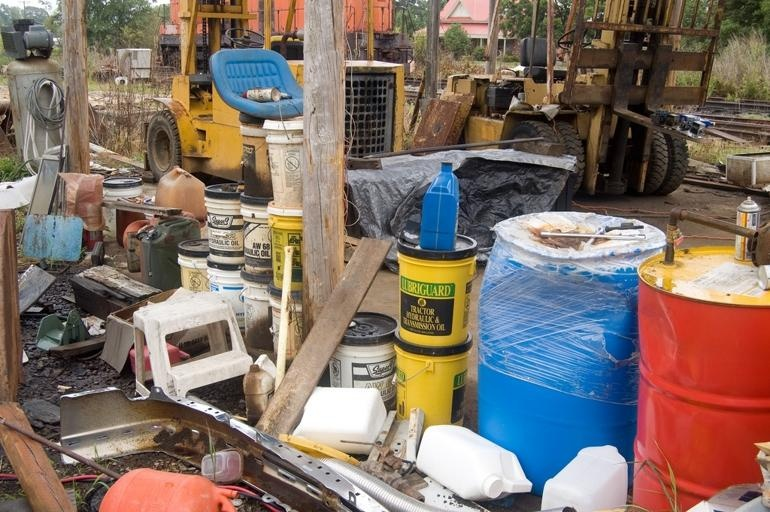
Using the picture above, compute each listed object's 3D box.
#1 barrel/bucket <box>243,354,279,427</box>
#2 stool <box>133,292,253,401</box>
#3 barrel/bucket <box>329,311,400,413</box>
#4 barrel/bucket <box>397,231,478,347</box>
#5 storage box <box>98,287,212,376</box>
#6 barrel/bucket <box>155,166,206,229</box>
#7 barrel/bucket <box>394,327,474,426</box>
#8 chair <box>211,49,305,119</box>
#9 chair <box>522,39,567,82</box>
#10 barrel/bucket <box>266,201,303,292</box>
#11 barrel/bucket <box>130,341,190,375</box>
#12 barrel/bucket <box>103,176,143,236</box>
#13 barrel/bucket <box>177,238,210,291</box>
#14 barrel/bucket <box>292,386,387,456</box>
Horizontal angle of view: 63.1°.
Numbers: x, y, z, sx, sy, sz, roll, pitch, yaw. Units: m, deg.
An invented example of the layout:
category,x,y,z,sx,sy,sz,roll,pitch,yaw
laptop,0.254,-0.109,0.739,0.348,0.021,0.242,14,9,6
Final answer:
category,x,y,z,sx,sy,sz,roll,pitch,yaw
barrel/bucket,-0.832,0.916,4.203,0.252,0.446,0.408,0,8,7
stool,-1.391,0.650,4.541,0.760,0.642,0.770,-9,-1,-6
barrel/bucket,-0.155,0.698,4.448,0.594,0.587,0.577,0,12,0
barrel/bucket,0.301,0.236,4.124,0.601,0.614,0.574,1,9,0
storage box,-2.031,0.611,5.088,0.751,0.327,0.738,-14,26,-34
barrel/bucket,-2.459,-0.724,7.678,0.572,0.628,0.588,2,15,0
barrel/bucket,0.303,0.822,4.216,0.567,0.581,0.571,3,5,0
chair,-1.220,-1.730,6.297,0.901,0.513,0.928,-12,29,-30
chair,2.415,-3.054,9.526,0.579,0.731,0.719,6,-5,0
barrel/bucket,-0.682,-0.063,4.890,0.458,0.632,0.452,2,11,0
barrel/bucket,-1.735,0.694,4.804,0.254,0.156,0.355,10,13,44
barrel/bucket,-3.074,-0.513,7.399,0.450,0.767,0.694,-6,19,-23
barrel/bucket,-1.655,0.110,5.710,0.390,0.345,0.382,2,9,0
barrel/bucket,-0.277,1.012,3.986,0.541,0.343,0.302,4,17,7
